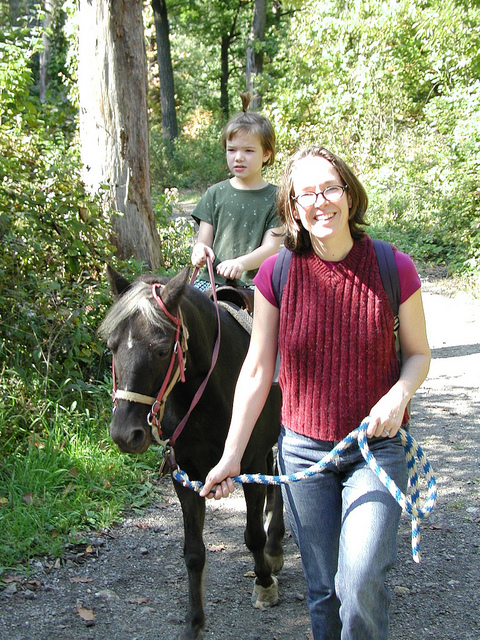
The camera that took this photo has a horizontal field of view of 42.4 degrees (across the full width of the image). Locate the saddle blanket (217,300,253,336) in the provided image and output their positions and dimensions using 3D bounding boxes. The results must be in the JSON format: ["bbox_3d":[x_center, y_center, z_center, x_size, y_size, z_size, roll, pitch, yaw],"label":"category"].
[{"bbox_3d":[-0.014,-0.031,3.257,0.190,0.082,0.140,35,1,16],"label":"saddle blanket"}]

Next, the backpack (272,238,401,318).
[{"bbox_3d":[0.322,-0.153,2.044,0.376,0.328,0.282,-2,-1,8],"label":"backpack"}]

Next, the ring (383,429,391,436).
[{"bbox_3d":[0.433,0.329,1.821,0.022,0.025,0.011,-8,13,-35],"label":"ring"}]

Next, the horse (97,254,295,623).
[{"bbox_3d":[-0.022,0.681,3.138,0.600,1.507,2.246,-6,-8,17],"label":"horse"}]

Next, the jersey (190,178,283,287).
[{"bbox_3d":[-0.014,-0.554,3.784,0.611,0.671,0.380,11,39,0],"label":"jersey"}]

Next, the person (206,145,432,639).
[{"bbox_3d":[0.219,0.214,1.884,0.667,1.492,0.713,3,11,17],"label":"person"}]

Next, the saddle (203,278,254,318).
[{"bbox_3d":[-0.029,-0.158,3.402,0.195,0.254,0.237,-8,27,17],"label":"saddle"}]
